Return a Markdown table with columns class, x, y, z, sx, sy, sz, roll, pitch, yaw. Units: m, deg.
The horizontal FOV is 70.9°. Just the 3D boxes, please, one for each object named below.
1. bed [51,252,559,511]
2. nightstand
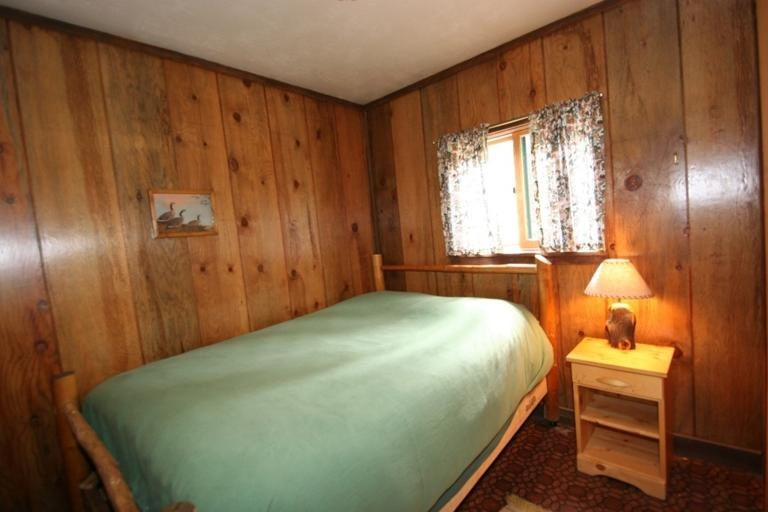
| class | x | y | z | sx | sy | sz | roll | pitch | yaw |
| --- | --- | --- | --- | --- | --- | --- | --- | --- | --- |
| bed | -0.328 | 0.801 | 3.783 | 3.116 | 1.433 | 1.959 | -8 | 5 | -41 |
| nightstand | 1.669 | 1.088 | 3.761 | 0.650 | 0.967 | 0.417 | -2 | 5 | 28 |
